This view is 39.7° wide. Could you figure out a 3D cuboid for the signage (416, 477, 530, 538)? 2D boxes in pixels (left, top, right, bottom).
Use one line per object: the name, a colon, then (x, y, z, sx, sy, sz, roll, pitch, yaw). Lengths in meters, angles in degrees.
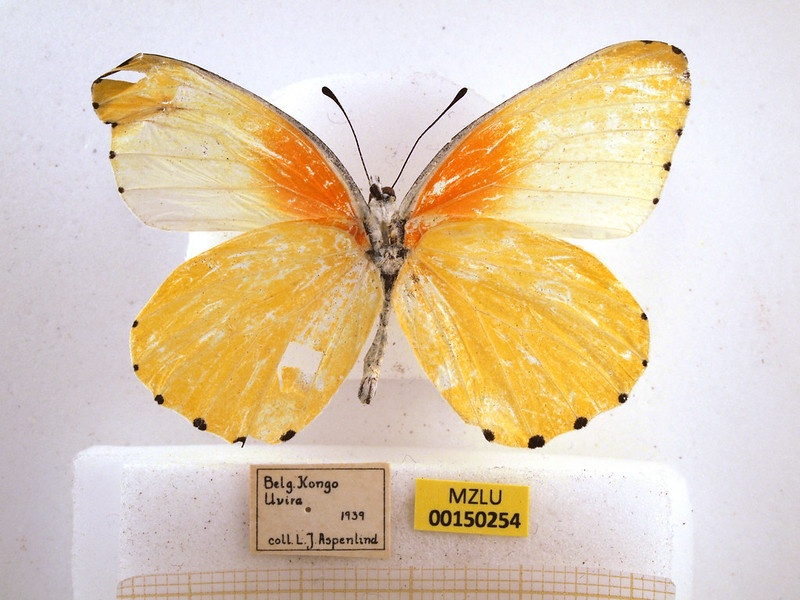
signage: (0.127, 0.370, 1.974, 0.201, 0.091, 0.035, 3, -18, -3)
